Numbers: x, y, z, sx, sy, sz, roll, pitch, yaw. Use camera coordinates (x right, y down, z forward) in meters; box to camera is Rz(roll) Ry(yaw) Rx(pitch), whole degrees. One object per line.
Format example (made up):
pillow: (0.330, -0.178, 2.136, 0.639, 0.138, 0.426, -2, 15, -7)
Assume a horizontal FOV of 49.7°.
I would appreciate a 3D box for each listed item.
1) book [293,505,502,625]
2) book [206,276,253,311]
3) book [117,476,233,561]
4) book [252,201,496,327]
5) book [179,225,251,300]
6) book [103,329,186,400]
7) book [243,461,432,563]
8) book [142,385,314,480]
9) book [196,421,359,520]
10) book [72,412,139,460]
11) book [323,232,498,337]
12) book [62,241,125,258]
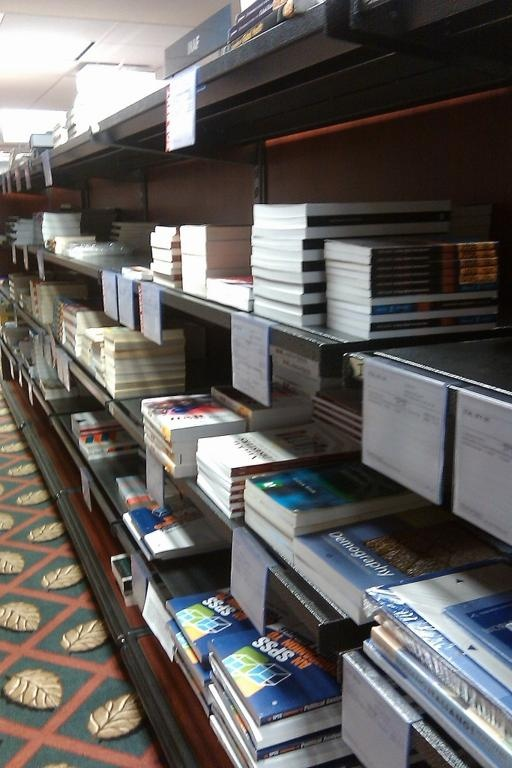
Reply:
book: (0.191, 0.242, 0.777, 0.138, 0.034, 0.145, -6, 14, -30)
book: (-0.053, -0.195, 1.196, 0.100, 0.025, 0.097, 21, 29, 39)
book: (-0.238, 0.401, 1.622, 0.424, 0.102, 0.434, 2, 10, -18)
book: (0.183, -0.175, 0.855, 0.329, 0.112, 0.241, -8, 21, -26)
book: (-0.089, -0.316, 1.464, 0.175, 0.225, 0.242, 2, 11, 7)
book: (-0.420, -0.065, 2.061, 0.270, 0.212, 0.275, -3, 12, -19)
book: (0.103, 0.185, 0.942, 0.170, 0.041, 0.174, -7, 11, -34)
book: (-0.093, 0.070, 1.400, 0.272, 0.076, 0.281, -8, 16, -27)
book: (0.042, 0.152, 1.153, 0.249, 0.084, 0.183, -8, 19, -25)
book: (-0.755, 0.260, 2.725, 0.239, 0.056, 0.241, -10, 35, -33)
book: (0.246, -0.149, 0.841, 0.265, 0.143, 0.131, -3, 13, -5)
book: (-0.805, -0.667, 2.748, 0.156, 0.039, 0.164, 4, 10, 31)
